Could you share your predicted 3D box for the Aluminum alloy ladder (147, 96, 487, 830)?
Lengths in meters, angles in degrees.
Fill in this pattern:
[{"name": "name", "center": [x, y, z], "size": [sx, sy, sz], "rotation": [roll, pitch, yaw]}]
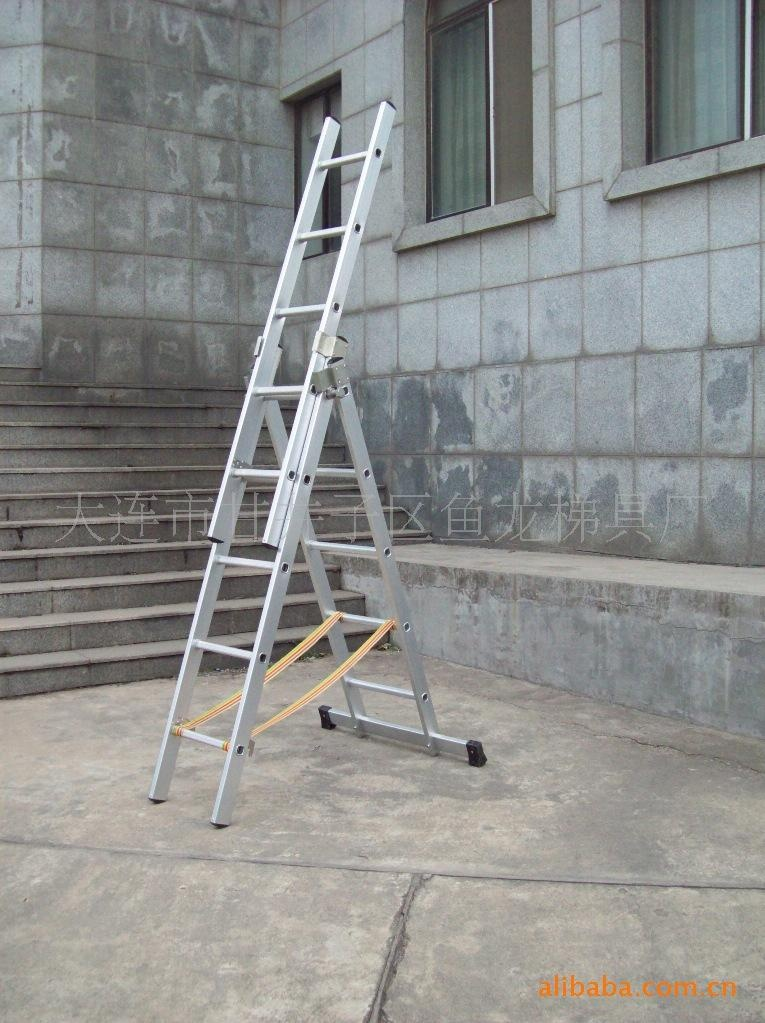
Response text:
[{"name": "Aluminum alloy ladder", "center": [-0.260, -0.113, 3.560], "size": [0.742, 2.266, 0.686], "rotation": [-2, 7, -34]}]
